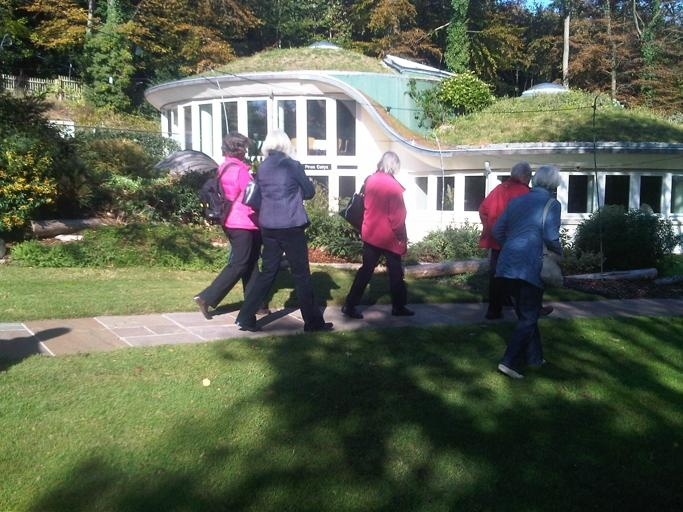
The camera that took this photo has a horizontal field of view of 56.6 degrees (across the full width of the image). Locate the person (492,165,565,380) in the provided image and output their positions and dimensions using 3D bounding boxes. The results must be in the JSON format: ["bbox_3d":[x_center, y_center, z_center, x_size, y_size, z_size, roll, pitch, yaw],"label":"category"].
[{"bbox_3d":[2.286,0.156,7.781,0.765,2.388,1.115,4,14,11],"label":"person"}]

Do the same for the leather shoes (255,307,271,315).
[{"bbox_3d":[-1.194,0.847,9.749,0.069,0.097,0.205,-1,-5,34],"label":"leather shoes"}]

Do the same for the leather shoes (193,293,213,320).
[{"bbox_3d":[-2.044,0.735,9.275,0.131,0.354,0.116,-15,21,20],"label":"leather shoes"}]

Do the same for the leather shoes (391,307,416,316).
[{"bbox_3d":[0.937,0.856,9.721,0.352,0.174,0.140,1,2,-8],"label":"leather shoes"}]

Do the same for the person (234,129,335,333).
[{"bbox_3d":[-0.839,-0.329,8.770,1.201,2.708,0.751,0,13,-3],"label":"person"}]

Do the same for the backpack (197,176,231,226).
[{"bbox_3d":[-1.739,-0.901,9.080,0.384,0.701,0.503,2,37,-4],"label":"backpack"}]

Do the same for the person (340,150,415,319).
[{"bbox_3d":[0.584,-0.311,9.689,1.080,2.474,0.845,1,13,-2],"label":"person"}]

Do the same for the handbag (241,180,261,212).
[{"bbox_3d":[-1.227,-0.808,8.599,0.157,0.402,0.240,8,15,28],"label":"handbag"}]

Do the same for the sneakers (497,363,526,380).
[{"bbox_3d":[2.034,1.355,7.578,0.320,0.179,0.138,0,14,-5],"label":"sneakers"}]
